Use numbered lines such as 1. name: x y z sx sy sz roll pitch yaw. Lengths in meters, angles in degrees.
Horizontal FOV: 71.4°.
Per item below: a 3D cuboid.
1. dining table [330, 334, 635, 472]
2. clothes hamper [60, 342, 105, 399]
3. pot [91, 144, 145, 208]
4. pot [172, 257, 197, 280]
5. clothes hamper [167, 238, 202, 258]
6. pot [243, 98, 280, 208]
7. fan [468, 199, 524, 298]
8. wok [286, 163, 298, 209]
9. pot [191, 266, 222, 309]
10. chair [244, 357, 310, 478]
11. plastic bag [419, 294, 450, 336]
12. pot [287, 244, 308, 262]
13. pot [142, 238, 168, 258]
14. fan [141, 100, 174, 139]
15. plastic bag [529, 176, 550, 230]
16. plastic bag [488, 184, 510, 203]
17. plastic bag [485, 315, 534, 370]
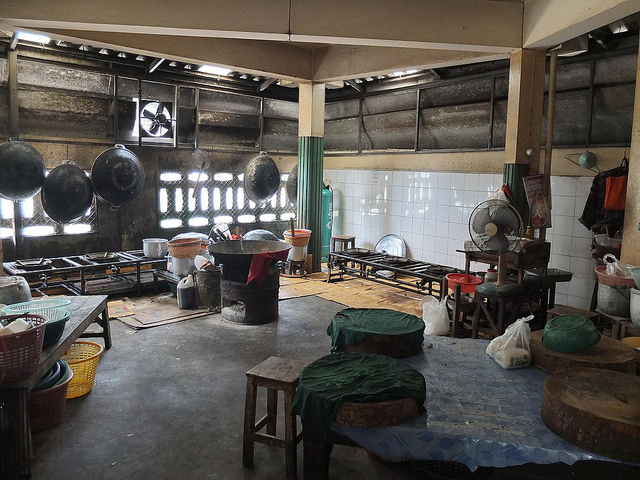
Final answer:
1. dining table: 0.925 1.031 3.213 1.547 0.454 1.340 4 13 9
2. clothes hamper: -2.342 1.224 4.322 0.441 0.321 0.445 6 6 25
3. pot: -2.939 -0.943 6.487 0.255 0.860 0.679 10 15 33
4. pot: -2.019 0.425 6.554 0.295 0.310 0.298 1 -1 0
5. clothes hamper: -2.036 0.118 6.715 0.433 0.231 0.549 -1 13 -11
6. pot: -1.100 -1.411 7.929 0.420 1.421 0.306 -1 9 -43
7. fan: 1.912 0.084 4.793 0.628 1.043 0.326 6 14 18
8. wok: -0.545 -1.056 8.739 0.182 0.771 0.407 0 13 -5
9. pot: -1.629 0.707 6.492 0.419 0.545 0.469 6 9 42
10. chair: -0.343 1.226 3.532 0.448 0.852 0.931 1 13 -2
11. plastic bag: 1.168 0.771 4.541 0.288 0.418 0.339 6 -11 -21
12. pot: -0.397 0.236 8.001 0.301 0.225 0.301 1 0 0
13. pot: -2.621 0.135 7.033 0.339 0.222 0.289 -3 -3 39
14. fan: -2.805 -2.079 7.677 0.533 0.640 0.272 -4 14 -24
15. plastic bag: 2.648 -0.418 5.334 0.246 0.585 0.139 -8 16 -36
16. plastic bag: 2.050 -0.516 5.147 0.244 0.232 0.224 2 8 -19
17. plastic bag: 1.462 0.755 3.384 0.288 0.366 0.215 6 11 -18
